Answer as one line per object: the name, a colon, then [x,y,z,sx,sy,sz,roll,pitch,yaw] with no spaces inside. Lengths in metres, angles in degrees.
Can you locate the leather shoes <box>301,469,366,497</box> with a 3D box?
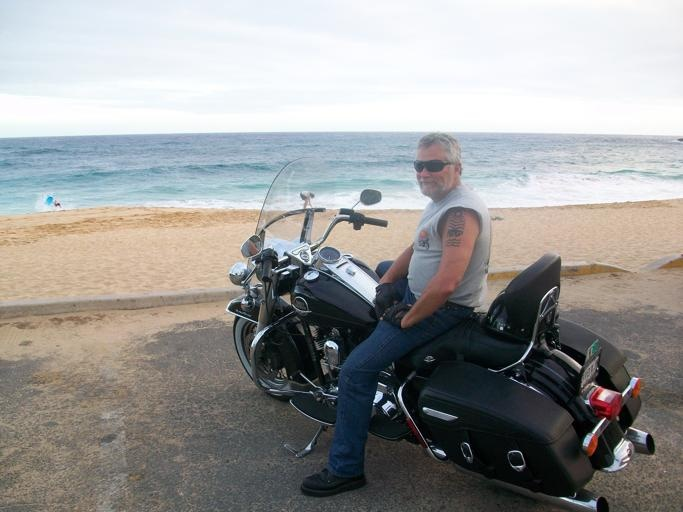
leather shoes: [-0.048,1.617,3.586,0.465,0.130,0.175,3,0,-1]
